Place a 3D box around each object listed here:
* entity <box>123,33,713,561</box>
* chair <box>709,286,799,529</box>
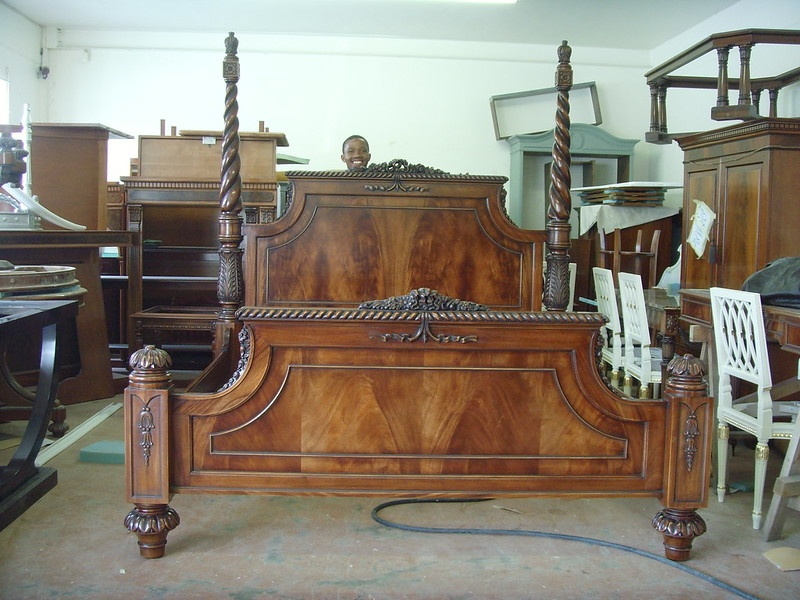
[{"bbox_3d":[0.043,-0.173,4.677,3.299,2.757,2.806,0,10,-15],"label":"entity"},{"bbox_3d":[2.119,0.614,4.335,0.348,1.348,0.599,0,6,-3],"label":"chair"}]
